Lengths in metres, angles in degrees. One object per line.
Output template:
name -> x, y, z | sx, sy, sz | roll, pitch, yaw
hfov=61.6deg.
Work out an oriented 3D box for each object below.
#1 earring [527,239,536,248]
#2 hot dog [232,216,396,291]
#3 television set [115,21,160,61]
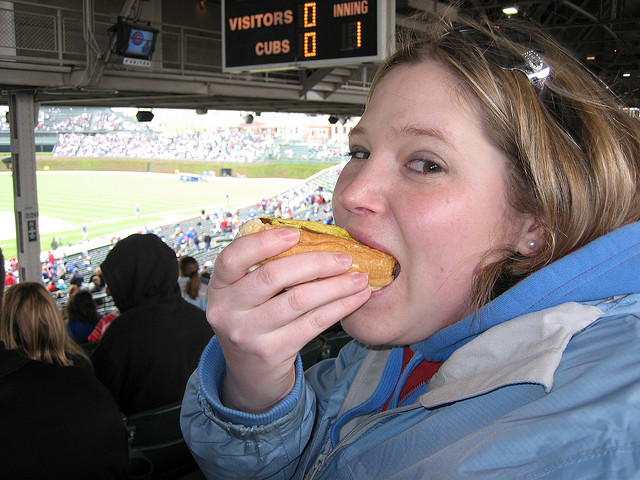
earring -> 0.620, 0.010, 1.570 | 0.028, 0.024, 0.007 | -2, 14, -19
hot dog -> -0.015, 0.004, 1.635 | 0.440, 0.146, 0.227 | 10, 10, -2
television set -> -2.784, -3.020, 7.967 | 0.333, 0.550, 0.610 | 32, 25, 19
